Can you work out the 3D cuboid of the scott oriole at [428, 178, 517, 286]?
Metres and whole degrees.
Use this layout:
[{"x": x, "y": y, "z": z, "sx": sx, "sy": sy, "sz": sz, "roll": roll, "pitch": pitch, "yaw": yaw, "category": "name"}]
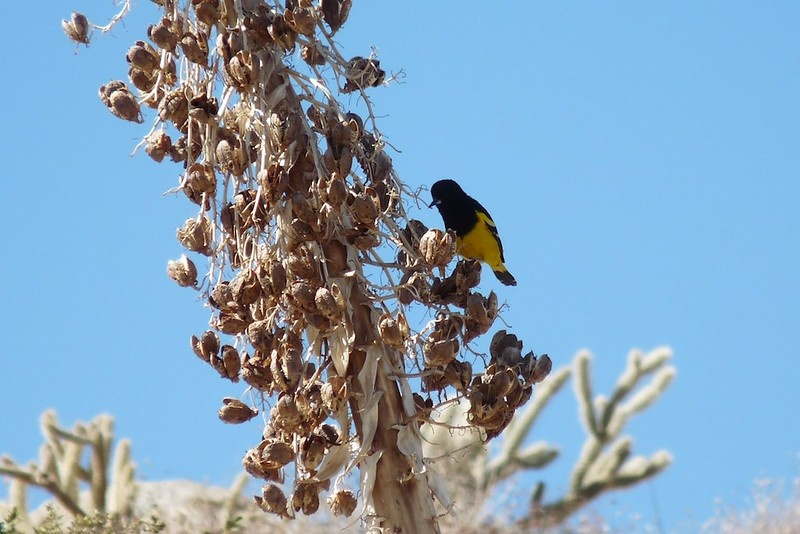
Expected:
[{"x": 0.486, "y": -0.186, "z": 9.685, "sx": 0.728, "sy": 0.602, "sz": 0.349, "roll": 26, "pitch": -45, "yaw": -35, "category": "scott oriole"}]
